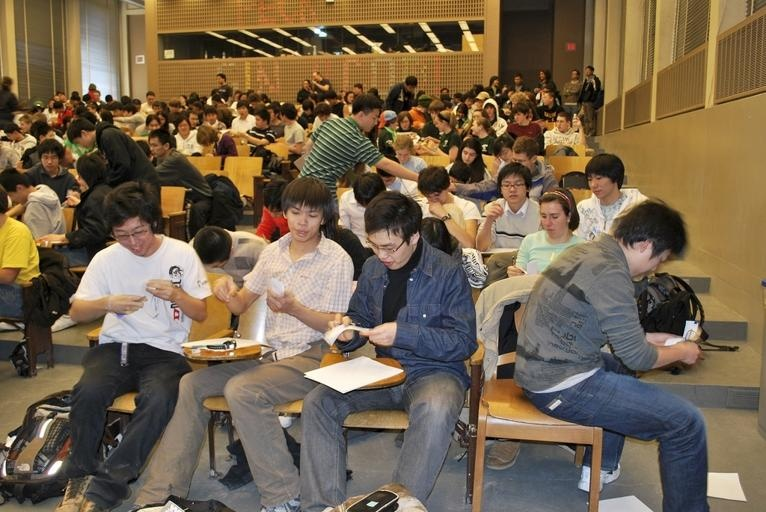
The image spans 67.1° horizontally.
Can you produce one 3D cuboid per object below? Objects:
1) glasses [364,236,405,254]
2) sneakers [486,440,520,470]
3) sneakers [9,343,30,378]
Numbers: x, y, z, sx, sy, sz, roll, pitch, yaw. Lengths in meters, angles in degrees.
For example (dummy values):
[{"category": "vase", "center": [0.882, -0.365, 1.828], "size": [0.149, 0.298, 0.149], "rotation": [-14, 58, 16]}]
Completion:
[{"category": "glasses", "center": [0.027, -0.049, 3.213], "size": [0.208, 0.080, 0.077], "rotation": [1, 11, 10]}, {"category": "sneakers", "center": [0.776, 1.296, 3.775], "size": [0.113, 0.117, 0.312], "rotation": [-1, -5, 23]}, {"category": "sneakers", "center": [-3.021, 0.866, 4.877], "size": [0.181, 0.279, 0.109], "rotation": [-8, -2, 2]}]
